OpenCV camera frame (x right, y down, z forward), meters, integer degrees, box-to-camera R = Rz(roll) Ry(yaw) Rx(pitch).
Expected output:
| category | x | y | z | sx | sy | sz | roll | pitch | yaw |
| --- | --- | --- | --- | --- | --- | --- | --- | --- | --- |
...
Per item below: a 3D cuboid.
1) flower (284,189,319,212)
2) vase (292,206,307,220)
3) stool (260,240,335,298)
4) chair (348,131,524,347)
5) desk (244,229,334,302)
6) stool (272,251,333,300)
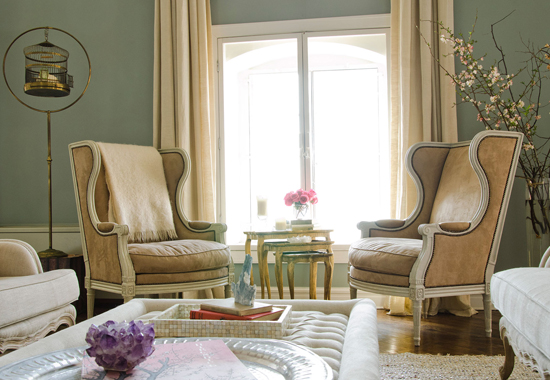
| category | x | y | z | sx | sy | sz | roll | pitch | yaw |
| --- | --- | --- | --- | --- | --- | --- | --- | --- | --- |
| flower | 0.233 | 0.063 | 4.521 | 0.204 | 0.194 | 0.217 | 4 | 4 | 19 |
| vase | 0.220 | 0.200 | 4.542 | 0.114 | 0.134 | 0.118 | 3 | 0 | 12 |
| stool | 0.155 | 0.643 | 4.445 | 0.564 | 0.679 | 0.462 | 0 | -2 | -16 |
| chair | 1.214 | 0.329 | 3.938 | 1.186 | 1.551 | 0.902 | -8 | 12 | -27 |
| desk | 0.088 | 0.557 | 4.369 | 0.745 | 0.724 | 0.580 | 1 | -6 | -20 |
| stool | 0.251 | 0.702 | 4.354 | 0.412 | 0.440 | 0.427 | 0 | -8 | -3 |
